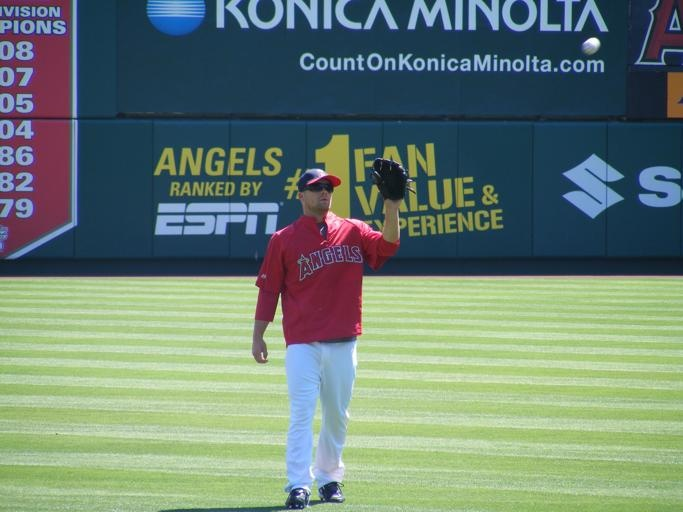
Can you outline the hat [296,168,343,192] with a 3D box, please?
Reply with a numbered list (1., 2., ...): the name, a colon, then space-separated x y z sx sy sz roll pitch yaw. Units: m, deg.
1. hat: -0.303 -1.117 20.935 0.482 0.226 0.356 -8 -2 22
